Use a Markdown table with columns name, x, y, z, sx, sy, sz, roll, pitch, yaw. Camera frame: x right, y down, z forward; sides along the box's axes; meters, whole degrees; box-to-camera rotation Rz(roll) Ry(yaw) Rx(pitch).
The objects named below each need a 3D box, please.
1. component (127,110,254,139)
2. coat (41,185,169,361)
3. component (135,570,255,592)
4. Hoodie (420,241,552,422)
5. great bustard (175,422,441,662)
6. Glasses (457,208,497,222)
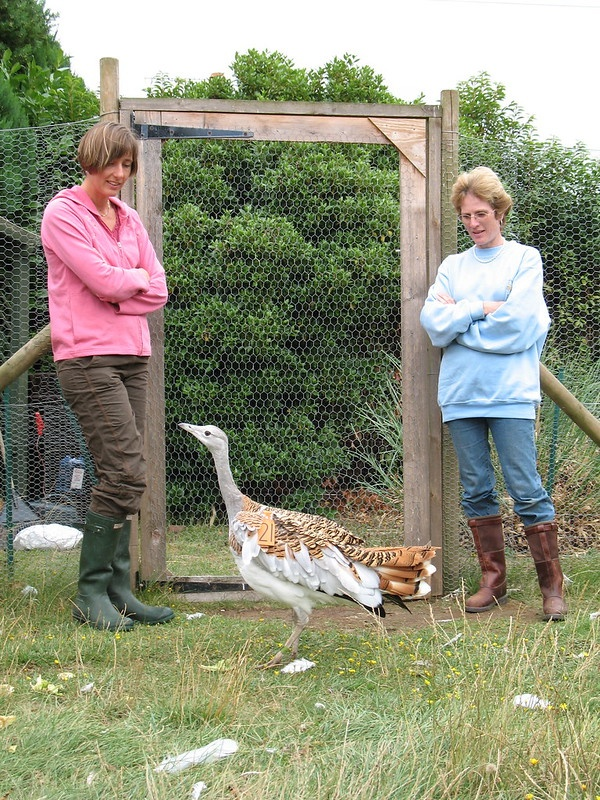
| name | x | y | z | sx | sy | sz | roll | pitch | yaw |
| --- | --- | --- | --- | --- | --- | --- | --- | --- | --- |
| component | -0.534 | -1.326 | 5.765 | 0.371 | 0.067 | 0.191 | -1 | 1 | -2 |
| coat | -0.827 | -0.545 | 5.154 | 0.372 | 0.747 | 0.597 | 0 | 3 | 37 |
| component | -0.517 | 0.878 | 5.776 | 0.647 | 0.070 | 0.063 | 2 | 29 | -15 |
| Hoodie | 0.837 | -0.312 | 5.467 | 0.572 | 0.826 | 0.372 | -1 | 3 | 21 |
| great bustard | 0.095 | 0.585 | 4.859 | 1.121 | 0.858 | 0.384 | 5 | 23 | 36 |
| Glasses | 0.802 | -0.837 | 5.406 | 0.161 | 0.064 | 0.106 | -1 | 3 | 15 |
